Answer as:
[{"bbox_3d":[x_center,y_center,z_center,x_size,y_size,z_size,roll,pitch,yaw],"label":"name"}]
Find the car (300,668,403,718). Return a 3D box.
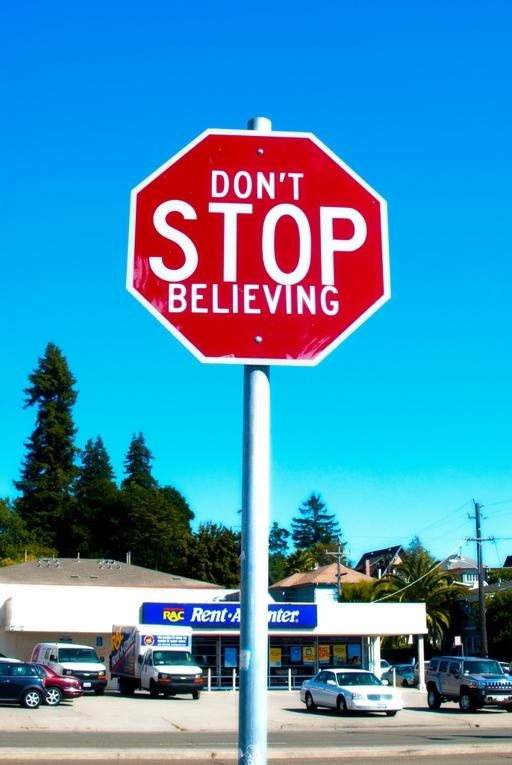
[{"bbox_3d":[2.401,8.144,30.881,1.155,0.801,2.698,7,-18,-18],"label":"car"}]

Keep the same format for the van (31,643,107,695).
[{"bbox_3d":[-5.921,9.100,37.485,1.518,1.247,2.756,7,-17,-26],"label":"van"}]

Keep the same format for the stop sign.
[{"bbox_3d":[-0.012,-0.765,7.292,1.658,1.453,0.113,0,-16,-6],"label":"stop sign"}]

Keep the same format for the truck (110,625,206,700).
[{"bbox_3d":[-3.087,9.035,38.188,1.775,2.008,3.903,5,-19,-15],"label":"truck"}]
